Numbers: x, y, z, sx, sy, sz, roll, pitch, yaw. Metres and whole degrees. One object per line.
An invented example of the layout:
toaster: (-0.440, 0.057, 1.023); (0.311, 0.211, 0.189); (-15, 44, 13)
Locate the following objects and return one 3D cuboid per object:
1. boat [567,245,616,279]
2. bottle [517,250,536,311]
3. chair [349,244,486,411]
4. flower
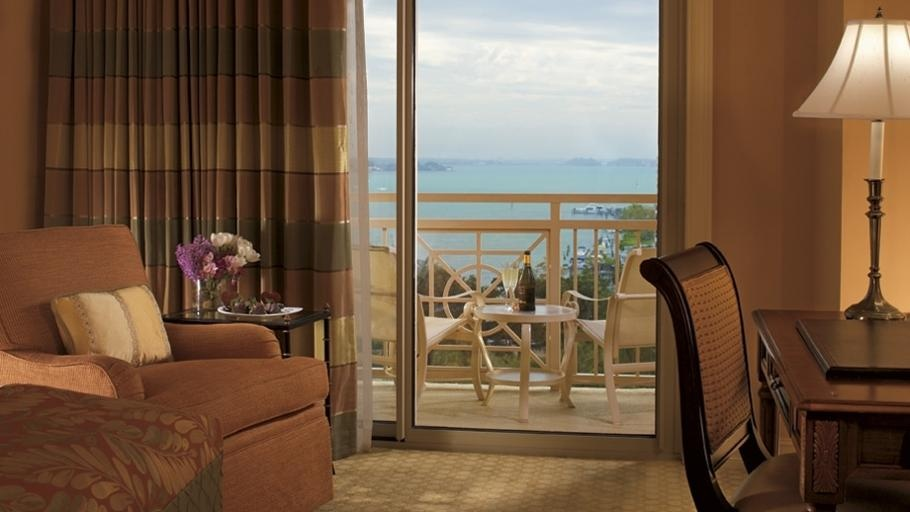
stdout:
boat: (1.073, 0.049, 5.593); (0.248, 0.122, 0.326); (2, 5, 31)
bottle: (0.489, 0.157, 4.781); (0.131, 0.423, 0.231); (1, 11, 5)
chair: (-0.158, 0.485, 4.694); (0.632, 1.225, 1.051); (2, 11, 9)
flower: (-1.319, 0.025, 3.906); (0.387, 0.307, 0.370); (0, 5, -6)
